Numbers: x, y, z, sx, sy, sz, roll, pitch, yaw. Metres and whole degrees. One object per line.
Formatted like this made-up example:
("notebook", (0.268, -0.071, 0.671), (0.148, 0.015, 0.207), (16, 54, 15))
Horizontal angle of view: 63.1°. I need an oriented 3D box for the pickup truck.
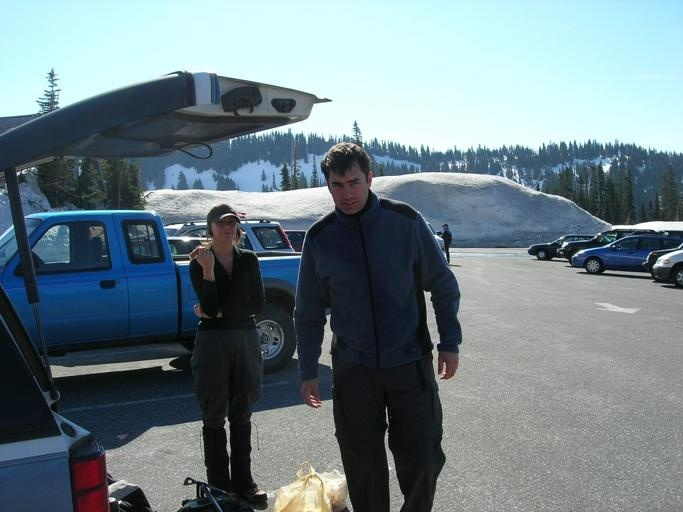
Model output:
("pickup truck", (-2.561, 0.377, 7.993), (3.983, 1.939, 1.970), (0, -4, -35))
